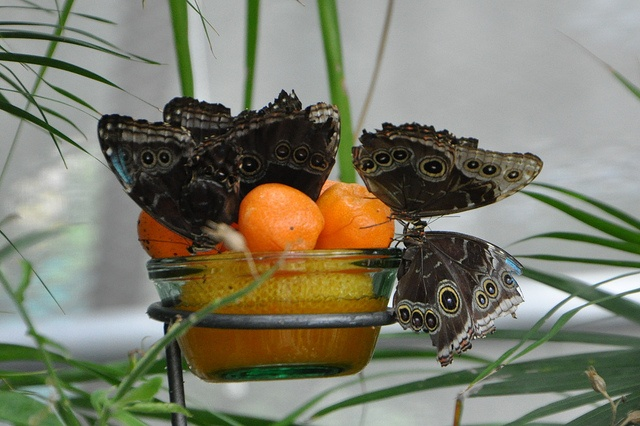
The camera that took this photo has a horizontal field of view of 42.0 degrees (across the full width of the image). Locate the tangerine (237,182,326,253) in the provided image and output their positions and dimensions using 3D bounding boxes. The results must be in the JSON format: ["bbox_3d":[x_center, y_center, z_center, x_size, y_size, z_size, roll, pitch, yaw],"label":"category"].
[{"bbox_3d":[-0.055,0.008,1.154,0.108,0.089,0.085,-3,-74,-23],"label":"tangerine"}]

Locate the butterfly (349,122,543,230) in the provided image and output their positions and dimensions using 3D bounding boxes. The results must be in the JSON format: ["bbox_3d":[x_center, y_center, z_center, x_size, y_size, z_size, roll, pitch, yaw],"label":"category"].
[{"bbox_3d":[0.169,-0.051,1.131,0.256,0.070,0.118,4,-54,-3],"label":"butterfly"}]

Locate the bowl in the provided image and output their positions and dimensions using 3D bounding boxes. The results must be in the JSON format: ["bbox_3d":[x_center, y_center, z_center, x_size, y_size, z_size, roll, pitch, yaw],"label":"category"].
[{"bbox_3d":[-0.062,0.135,1.127,0.344,0.098,0.193,-1,-54,0],"label":"bowl"}]

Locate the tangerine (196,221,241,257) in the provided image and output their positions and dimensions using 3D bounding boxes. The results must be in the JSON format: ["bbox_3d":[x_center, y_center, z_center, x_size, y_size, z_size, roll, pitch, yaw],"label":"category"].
[{"bbox_3d":[-0.132,0.042,1.104,0.034,0.047,0.054,3,-98,-2],"label":"tangerine"}]

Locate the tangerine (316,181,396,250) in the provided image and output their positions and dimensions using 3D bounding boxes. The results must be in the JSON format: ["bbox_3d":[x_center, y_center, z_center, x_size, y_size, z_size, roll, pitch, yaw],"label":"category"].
[{"bbox_3d":[0.042,0.008,1.140,0.079,0.082,0.093,0,-72,-27],"label":"tangerine"}]

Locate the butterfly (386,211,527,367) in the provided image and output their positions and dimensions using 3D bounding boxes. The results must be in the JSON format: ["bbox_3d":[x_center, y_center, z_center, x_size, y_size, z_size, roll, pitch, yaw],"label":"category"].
[{"bbox_3d":[0.166,0.105,1.161,0.190,0.096,0.193,-12,-88,-40],"label":"butterfly"}]

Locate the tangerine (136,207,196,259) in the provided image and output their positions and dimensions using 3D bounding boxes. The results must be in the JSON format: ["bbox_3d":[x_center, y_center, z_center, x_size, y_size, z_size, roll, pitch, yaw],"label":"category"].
[{"bbox_3d":[-0.211,0.017,1.147,0.058,0.063,0.072,-6,-71,-23],"label":"tangerine"}]

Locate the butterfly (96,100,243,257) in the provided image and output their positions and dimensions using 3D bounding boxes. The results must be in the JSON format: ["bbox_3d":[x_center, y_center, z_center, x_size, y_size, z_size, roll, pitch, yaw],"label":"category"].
[{"bbox_3d":[-0.200,-0.052,1.170,0.161,0.168,0.209,-10,-71,-31],"label":"butterfly"}]
